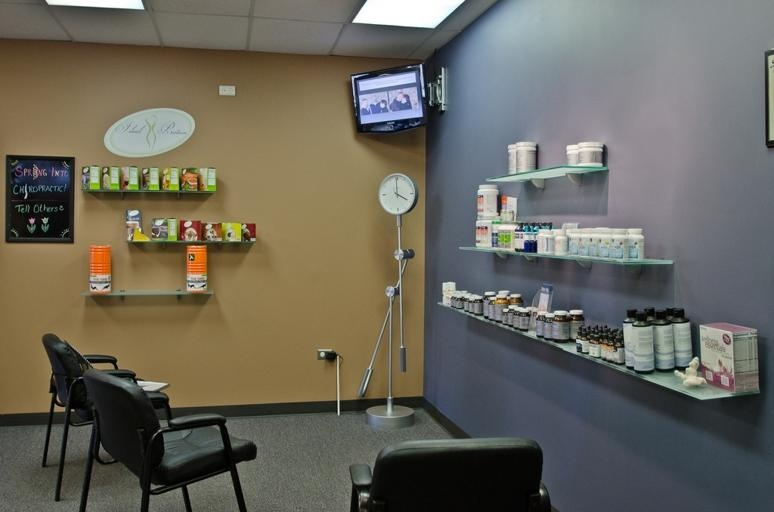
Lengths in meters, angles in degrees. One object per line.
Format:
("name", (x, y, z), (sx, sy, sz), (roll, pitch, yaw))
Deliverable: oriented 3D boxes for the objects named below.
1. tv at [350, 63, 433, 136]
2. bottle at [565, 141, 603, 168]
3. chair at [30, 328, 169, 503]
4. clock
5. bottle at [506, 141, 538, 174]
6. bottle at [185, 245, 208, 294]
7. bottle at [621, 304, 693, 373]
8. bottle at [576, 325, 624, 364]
("tv", (0.034, -1.442, 5.454), (0.677, 0.569, 0.090), (-4, 9, 21))
("bottle", (1.196, -0.617, 3.605), (0.169, 0.104, 0.167), (0, 0, 0))
("chair", (-2.118, 1.161, 4.908), (1.286, 1.484, 1.099), (1, -3, -26))
("clock", (0.026, 0.380, 5.543), (0.537, 2.270, 0.845), (2, 10, 3))
("bottle", (0.921, -0.662, 4.081), (0.234, 0.220, 0.203), (2, 3, 42))
("bottle", (-1.729, 0.113, 5.431), (0.202, 0.439, 0.218), (1, 10, 0))
("bottle", (1.400, 0.432, 3.135), (0.330, 0.321, 0.341), (0, 1, 20))
("bottle", (1.225, 0.490, 3.381), (0.145, 0.172, 0.345), (-3, 11, -23))
